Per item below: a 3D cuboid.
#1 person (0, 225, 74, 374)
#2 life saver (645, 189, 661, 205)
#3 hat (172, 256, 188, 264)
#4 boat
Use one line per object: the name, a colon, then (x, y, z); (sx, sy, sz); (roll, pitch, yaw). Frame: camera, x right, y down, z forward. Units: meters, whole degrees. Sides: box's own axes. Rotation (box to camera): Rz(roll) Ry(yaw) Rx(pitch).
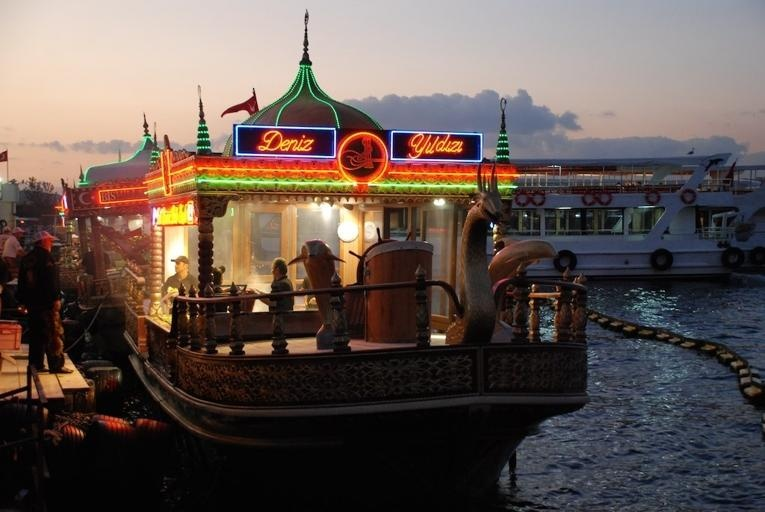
person: (-7.408, 1.005, 19.513); (0.935, 2.997, 0.959); (-3, 9, -23)
life saver: (14.147, -3.080, 46.884); (0.761, 0.747, 0.195); (5, 0, -16)
hat: (-5.050, 0.078, 22.355); (0.325, 0.175, 0.225); (3, 2, -22)
boat: (-1.554, 1.426, 23.093); (10.412, 8.380, 17.256); (1, -1, -16)
